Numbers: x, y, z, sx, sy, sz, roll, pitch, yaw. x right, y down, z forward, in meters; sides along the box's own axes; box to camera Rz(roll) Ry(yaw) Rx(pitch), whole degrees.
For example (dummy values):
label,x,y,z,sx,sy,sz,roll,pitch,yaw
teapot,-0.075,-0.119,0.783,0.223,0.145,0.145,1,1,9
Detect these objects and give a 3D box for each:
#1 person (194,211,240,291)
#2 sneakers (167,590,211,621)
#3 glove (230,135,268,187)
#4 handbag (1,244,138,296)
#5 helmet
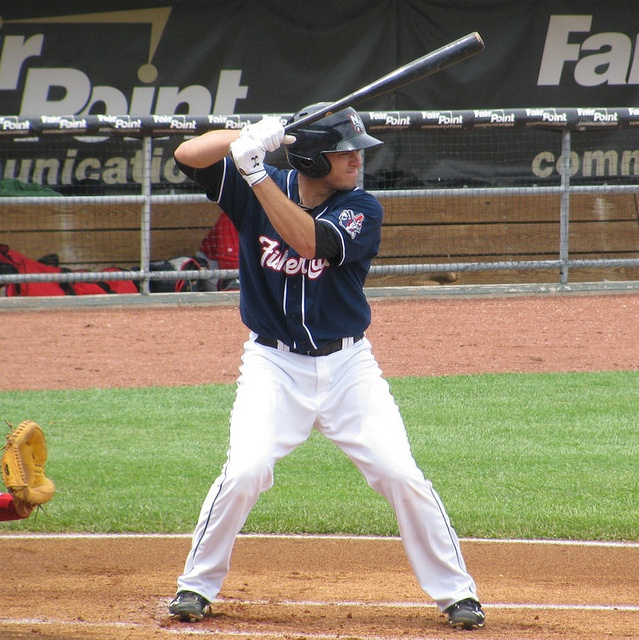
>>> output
label,x,y,z,sx,sy,sz,roll,pitch,yaw
person,-0.981,-0.646,16.086,0.488,0.783,0.211,-6,-18,22
sneakers,-0.744,1.662,9.765,0.272,0.115,0.115,-3,-9,28
glove,-0.384,-0.904,9.800,0.221,0.270,0.100,-39,14,-23
handbag,-2.358,-0.437,15.705,1.221,0.469,0.904,1,3,-6
helmet,0.089,-1.057,9.950,0.567,0.402,0.399,-2,6,10
